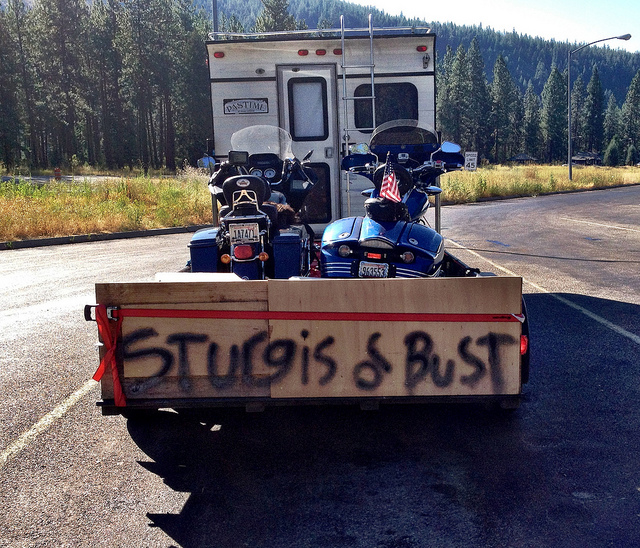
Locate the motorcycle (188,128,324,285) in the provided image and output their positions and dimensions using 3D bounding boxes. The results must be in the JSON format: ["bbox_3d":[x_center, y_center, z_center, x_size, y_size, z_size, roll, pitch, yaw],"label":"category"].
[{"bbox_3d":[-0.792,-0.793,8.170,0.961,1.730,2.646,0,19,3],"label":"motorcycle"}]

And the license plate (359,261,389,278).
[{"bbox_3d":[0.470,-0.050,6.611,0.186,0.173,0.059,0,9,9],"label":"license plate"}]

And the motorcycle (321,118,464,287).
[{"bbox_3d":[0.874,-0.614,7.992,1.091,1.961,3.046,2,14,13],"label":"motorcycle"}]

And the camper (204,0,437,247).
[{"bbox_3d":[0.016,-2.853,11.910,3.408,5.292,2.787,-1,7,3],"label":"camper"}]
